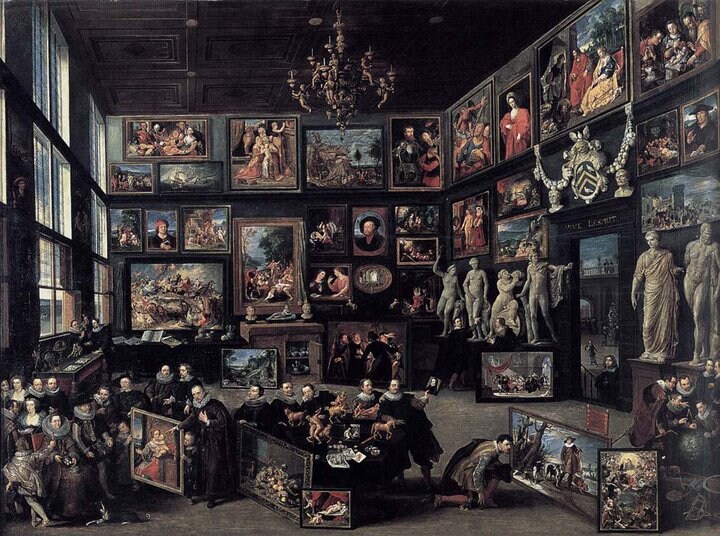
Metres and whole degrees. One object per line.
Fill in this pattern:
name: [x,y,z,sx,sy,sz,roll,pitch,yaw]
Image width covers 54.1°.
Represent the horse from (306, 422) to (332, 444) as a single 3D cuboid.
horse: [-0.482,1.971,8.432,0.358,0.256,0.139,1,-4,-5]
